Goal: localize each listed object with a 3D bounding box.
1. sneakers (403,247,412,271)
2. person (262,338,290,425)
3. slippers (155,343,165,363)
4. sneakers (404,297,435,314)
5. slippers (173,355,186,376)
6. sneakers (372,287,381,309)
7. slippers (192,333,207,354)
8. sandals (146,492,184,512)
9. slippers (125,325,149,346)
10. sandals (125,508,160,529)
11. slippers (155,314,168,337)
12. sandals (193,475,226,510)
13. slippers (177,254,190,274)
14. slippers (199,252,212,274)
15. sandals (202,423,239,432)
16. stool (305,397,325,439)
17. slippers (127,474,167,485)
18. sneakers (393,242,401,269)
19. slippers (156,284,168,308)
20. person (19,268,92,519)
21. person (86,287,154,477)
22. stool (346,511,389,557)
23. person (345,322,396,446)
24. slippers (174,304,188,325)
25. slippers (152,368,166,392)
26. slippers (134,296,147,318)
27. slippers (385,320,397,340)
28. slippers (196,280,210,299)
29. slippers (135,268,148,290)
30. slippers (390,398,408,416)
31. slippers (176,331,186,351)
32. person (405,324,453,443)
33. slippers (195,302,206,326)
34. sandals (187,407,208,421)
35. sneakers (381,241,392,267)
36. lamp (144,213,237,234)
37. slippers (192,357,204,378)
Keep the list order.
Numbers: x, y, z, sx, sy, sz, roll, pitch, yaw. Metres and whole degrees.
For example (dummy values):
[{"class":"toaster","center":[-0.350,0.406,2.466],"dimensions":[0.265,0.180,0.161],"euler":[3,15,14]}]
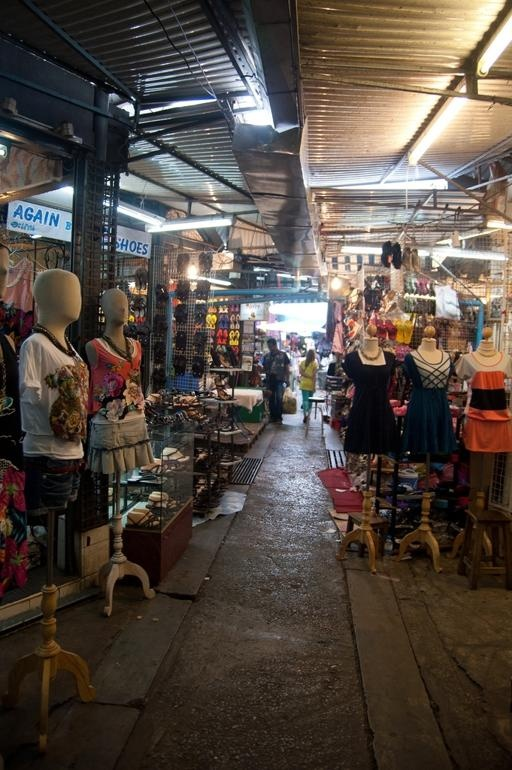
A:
[{"class":"sneakers","center":[1.610,-1.339,5.581],"dimensions":[0.097,0.210,0.055],"euler":[2,1,1]},{"class":"person","center":[0.406,-0.093,11.151],"dimensions":[0.507,1.233,0.539],"euler":[2,1,-8]},{"class":"slippers","center":[-0.916,-0.296,4.924],"dimensions":[0.096,0.167,0.057],"euler":[0,6,-7]},{"class":"sneakers","center":[1.743,-0.853,5.584],"dimensions":[0.462,0.171,0.068],"euler":[1,2,-36]},{"class":"slippers","center":[-0.752,-0.187,5.092],"dimensions":[0.119,0.176,0.062],"euler":[4,9,7]},{"class":"sneakers","center":[1.261,-0.896,5.459],"dimensions":[0.079,0.162,0.114],"euler":[4,2,-11]},{"class":"slippers","center":[-0.566,-0.408,5.194],"dimensions":[0.119,0.223,0.099],"euler":[2,1,-11]},{"class":"sandals","center":[-0.620,0.768,3.465],"dimensions":[0.218,0.091,0.074],"euler":[1,6,-16]},{"class":"slippers","center":[-1.025,-0.450,4.538],"dimensions":[0.235,0.145,0.243],"euler":[10,14,-1]},{"class":"sandals","center":[-0.741,0.858,3.358],"dimensions":[0.160,0.071,0.112],"euler":[-1,6,2]},{"class":"slippers","center":[-0.910,-0.564,5.000],"dimensions":[0.124,0.212,0.073],"euler":[-1,1,-13]},{"class":"sandals","center":[-0.464,1.068,5.025],"dimensions":[0.262,0.099,0.406],"euler":[2,0,12]},{"class":"slippers","center":[-0.719,-1.196,5.168],"dimensions":[0.120,0.212,0.095],"euler":[2,1,-12]},{"class":"slippers","center":[-0.526,-1.224,5.281],"dimensions":[0.145,0.212,0.050],"euler":[-1,4,-29]},{"class":"sandals","center":[-0.417,0.483,5.932],"dimensions":[0.280,0.071,0.271],"euler":[0,1,5]},{"class":"stool","center":[1.417,0.639,11.526],"dimensions":[0.656,0.916,0.655],"euler":[1,2,-2]},{"class":"slippers","center":[-0.741,0.639,3.518],"dimensions":[0.153,0.043,0.117],"euler":[0,-2,4]},{"class":"sneakers","center":[1.479,-1.354,5.501],"dimensions":[0.082,0.232,0.277],"euler":[3,2,25]},{"class":"slippers","center":[-0.892,-0.842,4.950],"dimensions":[0.129,0.184,0.055],"euler":[-5,18,-13]},{"class":"person","center":[-0.838,0.031,2.187],"dimensions":[0.319,1.022,0.228],"euler":[1,1,-36]},{"class":"person","center":[-0.778,0.001,3.016],"dimensions":[0.398,1.085,0.232],"euler":[2,1,-20]},{"class":"stool","center":[0.890,1.122,4.038],"dimensions":[0.335,0.360,0.319],"euler":[1,-1,-9]},{"class":"person","center":[0.855,0.072,3.872],"dimensions":[0.418,0.736,0.255],"euler":[2,1,-4]},{"class":"slippers","center":[-0.757,-0.703,5.216],"dimensions":[0.111,0.216,0.174],"euler":[2,2,-6]},{"class":"slippers","center":[-0.931,-0.044,4.963],"dimensions":[0.141,0.214,0.049],"euler":[1,-5,39]},{"class":"slippers","center":[-1.052,-0.693,4.743],"dimensions":[0.081,0.239,0.098],"euler":[3,-1,-4]},{"class":"slippers","center":[1.357,-0.552,5.264],"dimensions":[0.101,0.184,0.054],"euler":[-9,6,1]},{"class":"slippers","center":[-0.524,-0.926,5.085],"dimensions":[0.130,0.142,0.247],"euler":[1,-34,-3]},{"class":"slippers","center":[-1.076,-0.990,4.891],"dimensions":[0.086,0.237,0.060],"euler":[1,0,-16]},{"class":"slippers","center":[1.208,0.198,4.428],"dimensions":[0.152,0.082,0.223],"euler":[0,7,8]},{"class":"slippers","center":[-0.756,-0.431,5.198],"dimensions":[0.104,0.179,0.063],"euler":[2,1,4]},{"class":"person","center":[1.282,0.059,3.884],"dimensions":[0.369,0.858,0.251],"euler":[2,1,18]},{"class":"slippers","center":[-0.562,-0.708,5.227],"dimensions":[0.120,0.221,0.124],"euler":[2,1,-6]},{"class":"sandals","center":[-0.561,0.273,4.914],"dimensions":[0.119,0.122,0.152],"euler":[0,-3,-1]},{"class":"sneakers","center":[1.372,-1.378,5.518],"dimensions":[0.103,0.217,0.180],"euler":[2,2,14]},{"class":"lamp","center":[-0.881,-2.134,6.879],"dimensions":[1.359,0.275,0.199],"euler":[-3,-2,-12]},{"class":"slippers","center":[-0.571,-0.175,5.126],"dimensions":[0.109,0.192,0.078],"euler":[2,-1,2]}]
